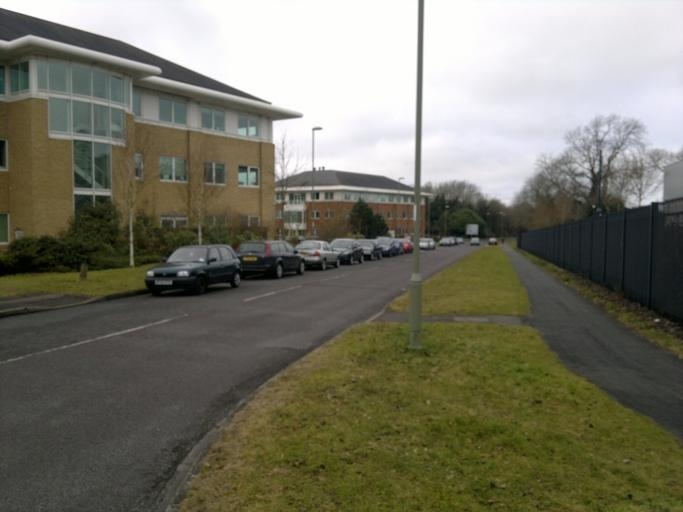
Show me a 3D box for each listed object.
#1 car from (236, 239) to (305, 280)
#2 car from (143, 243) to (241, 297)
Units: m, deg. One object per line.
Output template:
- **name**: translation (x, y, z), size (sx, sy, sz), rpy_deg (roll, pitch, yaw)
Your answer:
- **car**: translation (-2.697, 0.120, 25.290), size (1.101, 1.103, 2.672), rpy_deg (0, 4, 22)
- **car**: translation (-4.608, 0.427, 19.769), size (1.374, 1.285, 2.746), rpy_deg (-3, -4, 20)
